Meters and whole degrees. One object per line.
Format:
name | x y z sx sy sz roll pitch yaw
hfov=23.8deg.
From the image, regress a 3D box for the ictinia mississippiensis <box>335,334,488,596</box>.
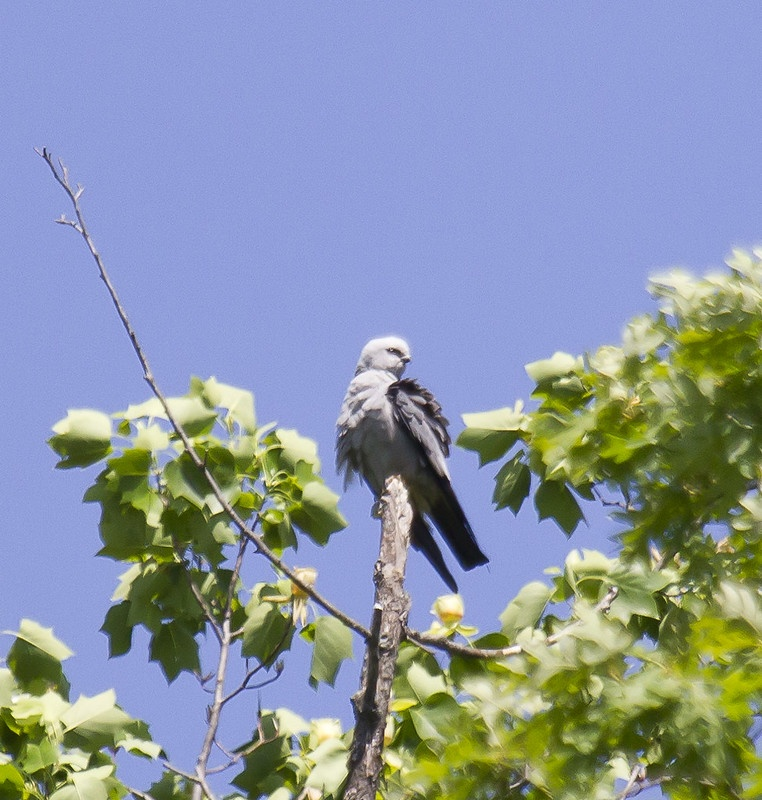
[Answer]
ictinia mississippiensis | 0.114 0.284 7.404 0.356 0.860 0.613 -25 -55 18
